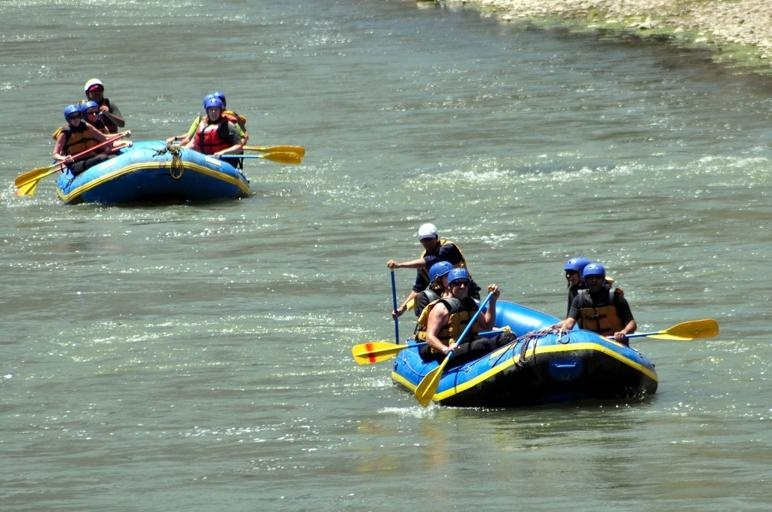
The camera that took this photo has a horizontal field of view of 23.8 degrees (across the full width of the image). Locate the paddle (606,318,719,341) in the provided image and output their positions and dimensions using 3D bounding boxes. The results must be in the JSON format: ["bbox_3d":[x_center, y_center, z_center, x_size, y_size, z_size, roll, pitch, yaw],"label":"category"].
[{"bbox_3d":[4.918,1.285,30.942,1.528,0.403,1.111,-1,20,1],"label":"paddle"}]

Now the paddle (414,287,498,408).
[{"bbox_3d":[1.202,1.617,30.835,2.931,0.254,0.434,-42,101,-16],"label":"paddle"}]

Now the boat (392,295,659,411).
[{"bbox_3d":[2.282,1.791,30.923,2.826,1.643,3.448,-32,53,-29],"label":"boat"}]

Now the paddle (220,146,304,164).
[{"bbox_3d":[-2.520,-2.157,39.258,2.041,0.190,0.468,-1,74,-6],"label":"paddle"}]

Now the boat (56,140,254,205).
[{"bbox_3d":[-4.960,-1.717,38.356,2.307,4.171,1.077,5,88,-13],"label":"boat"}]
